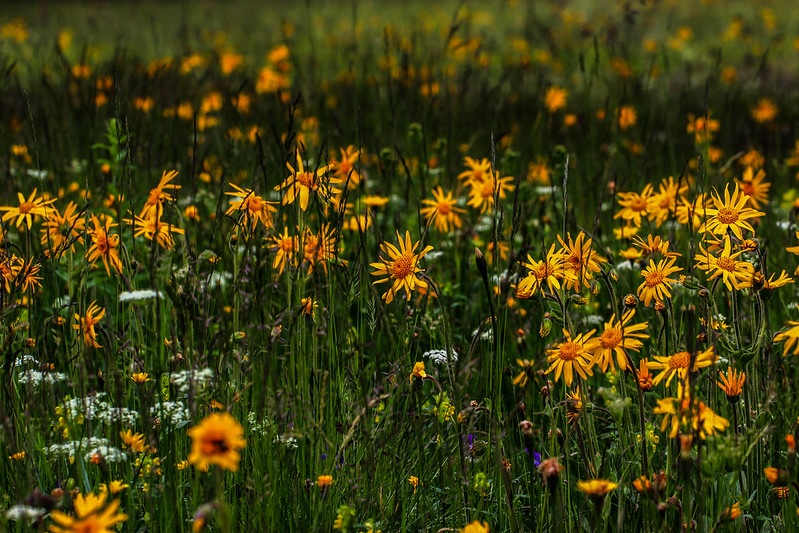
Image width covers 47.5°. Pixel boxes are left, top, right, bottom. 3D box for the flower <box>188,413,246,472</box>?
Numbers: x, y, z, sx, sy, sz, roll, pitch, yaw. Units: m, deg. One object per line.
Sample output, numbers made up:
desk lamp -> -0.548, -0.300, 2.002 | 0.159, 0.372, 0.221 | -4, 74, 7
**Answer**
flower -> -0.754, 0.730, 3.784 | 0.218, 0.202, 0.193 | -3, -1, -9
